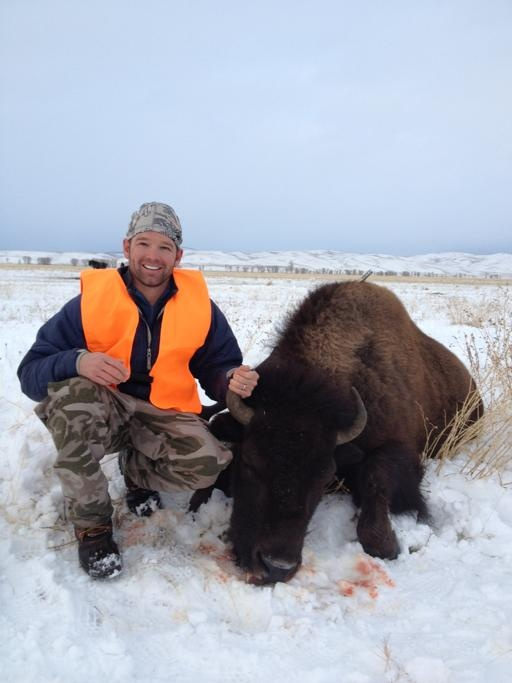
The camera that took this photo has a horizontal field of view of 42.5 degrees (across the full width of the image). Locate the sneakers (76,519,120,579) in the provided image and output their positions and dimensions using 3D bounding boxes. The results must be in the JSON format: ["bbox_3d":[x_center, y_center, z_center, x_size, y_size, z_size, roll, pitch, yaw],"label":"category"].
[{"bbox_3d":[-0.798,1.070,3.324,0.141,0.144,0.357,0,-2,-21],"label":"sneakers"}]

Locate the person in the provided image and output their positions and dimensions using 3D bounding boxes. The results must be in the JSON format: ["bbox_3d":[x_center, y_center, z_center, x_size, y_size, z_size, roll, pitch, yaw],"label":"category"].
[{"bbox_3d":[-0.643,0.150,3.769,1.218,1.872,0.954,-9,15,-44],"label":"person"}]

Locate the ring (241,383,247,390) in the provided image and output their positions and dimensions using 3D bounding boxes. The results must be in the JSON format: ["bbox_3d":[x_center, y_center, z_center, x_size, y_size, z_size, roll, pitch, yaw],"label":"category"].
[{"bbox_3d":[-0.063,0.256,3.697,0.045,0.039,0.011,-2,1,7],"label":"ring"}]
